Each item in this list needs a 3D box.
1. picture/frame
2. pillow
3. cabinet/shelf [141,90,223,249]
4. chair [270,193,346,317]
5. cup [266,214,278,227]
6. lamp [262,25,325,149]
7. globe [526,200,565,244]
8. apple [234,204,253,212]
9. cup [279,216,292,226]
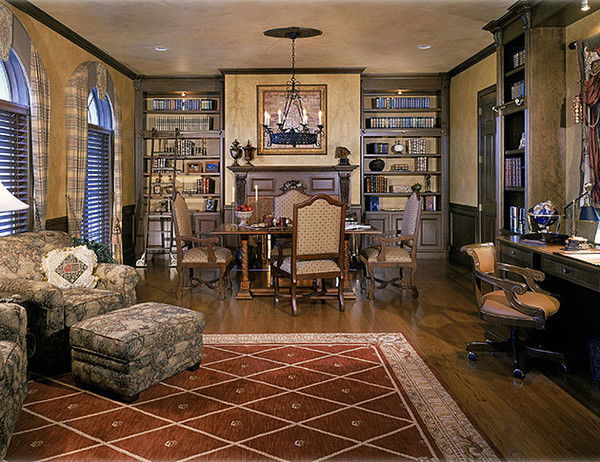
[{"bbox_3d":[-0.140,-2.081,8.133,1.296,1.252,0.109,3,16,13],"label":"picture/frame"},{"bbox_3d":[-2.190,0.366,4.183,0.121,0.403,0.403,-32,-18,37],"label":"pillow"},{"bbox_3d":[-2.238,-1.114,8.462,1.550,3.222,0.451,-1,-16,2],"label":"cabinet/shelf"},{"bbox_3d":[0.107,0.230,5.601,0.970,1.457,1.215,1,8,5],"label":"chair"},{"bbox_3d":[-0.385,-0.152,6.194,0.177,0.172,0.175,0,6,0],"label":"cup"},{"bbox_3d":[-0.105,-1.999,6.137,0.928,1.607,0.969,5,11,28],"label":"lamp"},{"bbox_3d":[2.450,-0.126,4.356,0.358,0.381,0.345,4,13,24],"label":"globe"},{"bbox_3d":[-0.874,-0.357,6.677,0.262,0.105,0.262,0,3,-1],"label":"apple"},{"bbox_3d":[-0.218,-0.134,6.282,0.110,0.133,0.180,-4,6,-41],"label":"cup"}]
